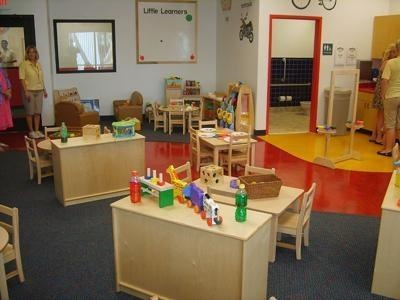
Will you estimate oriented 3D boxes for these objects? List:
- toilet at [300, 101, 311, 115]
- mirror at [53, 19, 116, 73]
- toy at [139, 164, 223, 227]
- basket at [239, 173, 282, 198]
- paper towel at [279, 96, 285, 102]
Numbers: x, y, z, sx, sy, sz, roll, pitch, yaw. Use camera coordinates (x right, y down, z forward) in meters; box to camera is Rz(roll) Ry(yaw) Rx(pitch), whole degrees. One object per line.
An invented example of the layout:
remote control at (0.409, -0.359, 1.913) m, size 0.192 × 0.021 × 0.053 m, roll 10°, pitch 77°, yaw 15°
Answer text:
toilet at (4.250, -1.712, 13.348) m, size 0.481 × 0.445 × 0.607 m, roll 0°, pitch 6°, yaw 0°
mirror at (-4.024, -3.615, 11.189) m, size 1.608 × 1.580 × 0.117 m, roll -3°, pitch 14°, yaw -11°
toy at (-0.184, 0.507, 3.459) m, size 0.370 × 0.257 × 0.807 m, roll -8°, pitch 23°, yaw -26°
basket at (0.795, 0.476, 4.343) m, size 0.560 × 0.249 × 0.299 m, roll -5°, pitch 15°, yaw -11°
paper towel at (3.421, -2.148, 13.674) m, size 0.220 × 0.238 × 0.173 m, roll -3°, pitch 19°, yaw -15°
